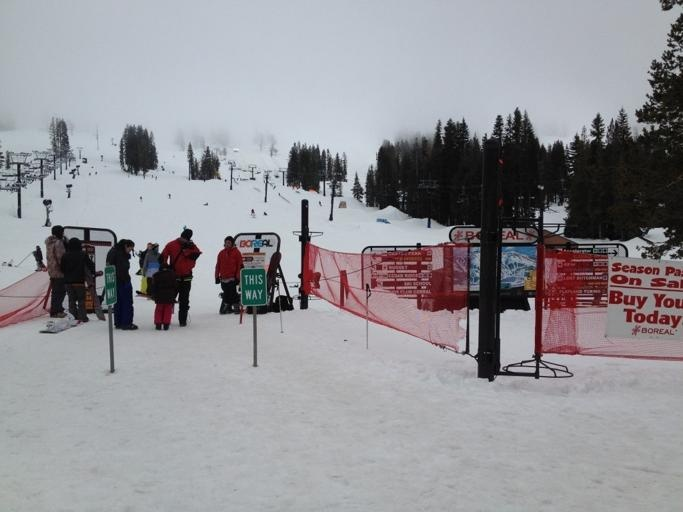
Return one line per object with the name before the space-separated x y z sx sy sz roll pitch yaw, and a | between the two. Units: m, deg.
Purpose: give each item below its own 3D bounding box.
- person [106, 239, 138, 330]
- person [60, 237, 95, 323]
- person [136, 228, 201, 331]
person | -5.863 0.789 22.878 0.733 2.407 1.541 -1 4 -16
person | -7.093 0.681 22.910 0.817 2.329 0.700 -1 4 -16
person | -4.557 0.638 23.196 1.283 2.697 1.100 -1 4 -19
